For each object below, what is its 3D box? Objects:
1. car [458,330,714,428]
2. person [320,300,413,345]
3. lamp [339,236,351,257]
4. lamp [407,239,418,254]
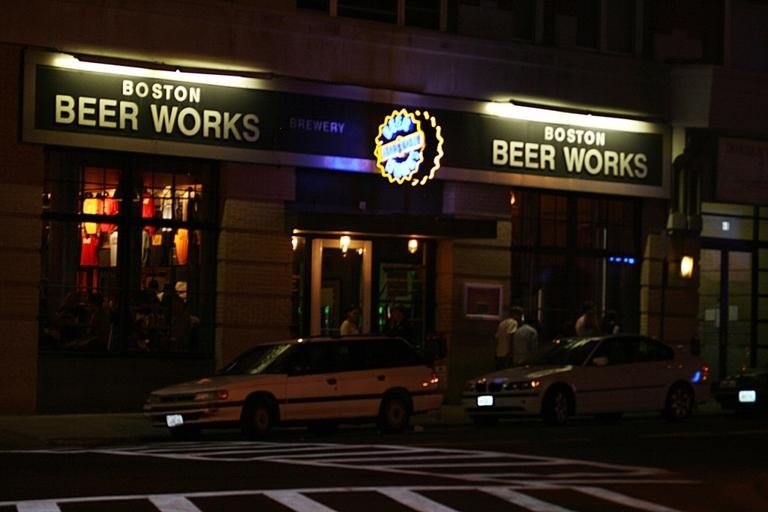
[{"bbox_3d":[4.856,2.991,22.544,4.955,1.726,2.337,4,-9,-27],"label":"car"},{"bbox_3d":[-0.233,1.770,24.862,1.866,1.169,0.906,2,-6,4],"label":"person"},{"bbox_3d":[-1.067,-0.242,25.656,0.291,0.543,0.431,1,-3,3],"label":"lamp"},{"bbox_3d":[0.815,-0.240,26.435,0.338,0.390,0.242,2,-3,-12],"label":"lamp"}]
